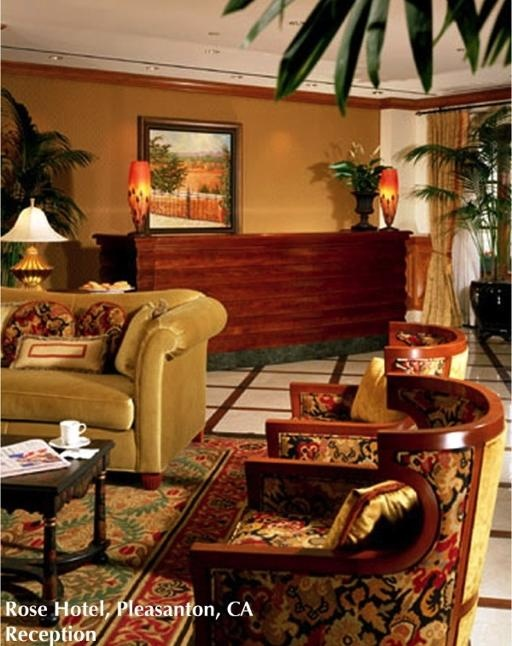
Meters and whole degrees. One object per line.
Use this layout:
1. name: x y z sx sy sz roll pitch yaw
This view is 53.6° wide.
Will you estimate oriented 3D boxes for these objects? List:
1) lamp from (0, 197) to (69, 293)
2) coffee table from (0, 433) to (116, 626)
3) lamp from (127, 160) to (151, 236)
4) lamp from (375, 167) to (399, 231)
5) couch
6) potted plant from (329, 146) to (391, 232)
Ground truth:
1. lamp: -2.010 -0.753 4.637 0.456 0.866 1.597 -1 6 -21
2. coffee table: -0.735 0.757 2.041 0.598 0.443 0.469 0 -1 22
3. lamp: -1.186 -1.273 5.133 0.187 0.727 0.245 0 6 -8
4. lamp: 1.695 -1.595 6.543 0.235 0.793 0.320 2 6 10
5. couch: -0.939 0.289 3.444 1.960 1.155 1.117 0 -3 18
6. potted plant: 1.476 -1.808 6.905 0.764 1.040 0.871 -7 14 -35
